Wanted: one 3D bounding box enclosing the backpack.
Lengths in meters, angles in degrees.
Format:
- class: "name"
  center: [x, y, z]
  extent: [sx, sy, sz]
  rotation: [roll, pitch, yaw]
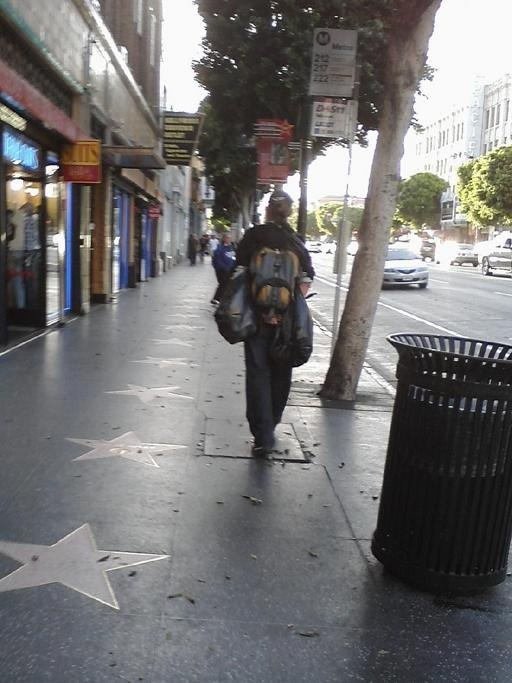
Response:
- class: "backpack"
  center: [0.070, -0.275, 4.139]
  extent: [0.645, 0.893, 0.358]
  rotation: [3, 7, -9]
